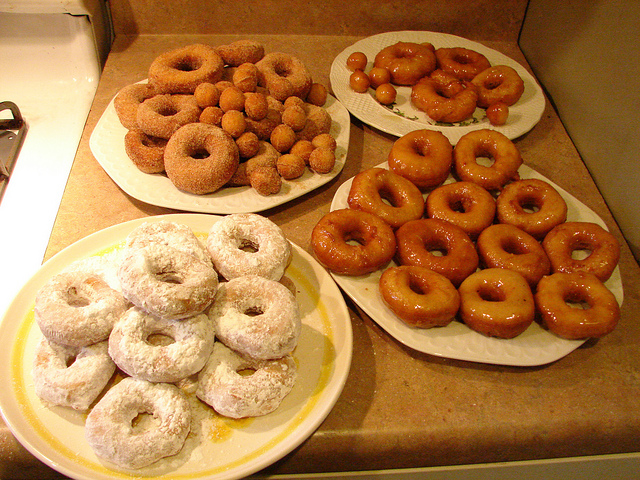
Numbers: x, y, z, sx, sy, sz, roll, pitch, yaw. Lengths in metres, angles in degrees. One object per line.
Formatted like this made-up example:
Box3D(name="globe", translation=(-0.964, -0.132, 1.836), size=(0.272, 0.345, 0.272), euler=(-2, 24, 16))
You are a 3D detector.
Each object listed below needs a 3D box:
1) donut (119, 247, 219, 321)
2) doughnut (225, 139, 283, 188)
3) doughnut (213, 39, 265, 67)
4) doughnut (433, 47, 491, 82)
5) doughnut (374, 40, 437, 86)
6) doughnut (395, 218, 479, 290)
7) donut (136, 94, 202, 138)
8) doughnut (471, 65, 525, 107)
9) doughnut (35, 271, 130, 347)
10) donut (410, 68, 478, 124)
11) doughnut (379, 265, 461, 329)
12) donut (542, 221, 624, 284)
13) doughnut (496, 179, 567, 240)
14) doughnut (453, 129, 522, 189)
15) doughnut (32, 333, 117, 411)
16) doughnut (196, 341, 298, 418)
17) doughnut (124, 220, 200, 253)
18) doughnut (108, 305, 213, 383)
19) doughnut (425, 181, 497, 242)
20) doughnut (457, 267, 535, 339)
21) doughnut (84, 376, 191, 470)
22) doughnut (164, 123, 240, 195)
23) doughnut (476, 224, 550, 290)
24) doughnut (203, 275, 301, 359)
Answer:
Box3D(name="donut", translation=(-0.356, 0.110, 1.364), size=(0.203, 0.065, 0.197), euler=(-11, 48, -39))
Box3D(name="doughnut", translation=(-0.208, -0.242, 1.773), size=(0.152, 0.047, 0.142), euler=(3, 42, 6))
Box3D(name="doughnut", translation=(-0.283, -0.656, 2.001), size=(0.134, 0.041, 0.108), euler=(-14, 15, -37))
Box3D(name="doughnut", translation=(0.531, -0.673, 2.145), size=(0.164, 0.054, 0.167), euler=(31, 48, 33))
Box3D(name="doughnut", translation=(0.319, -0.664, 2.111), size=(0.196, 0.064, 0.197), euler=(27, 51, 29))
Box3D(name="doughnut", translation=(0.322, 0.027, 1.633), size=(0.214, 0.076, 0.206), euler=(-33, 58, -28))
Box3D(name="donut", translation=(-0.481, -0.401, 1.799), size=(0.172, 0.054, 0.160), euler=(1, 38, -2))
Box3D(name="doughnut", translation=(0.647, -0.566, 2.061), size=(0.173, 0.079, 0.178), euler=(3, 62, -3))
Box3D(name="doughnut", translation=(-0.577, 0.170, 1.392), size=(0.203, 0.062, 0.185), euler=(-7, 46, -26))
Box3D(name="donut", translation=(0.430, -0.515, 2.024), size=(0.210, 0.075, 0.214), euler=(35, 57, 27))
Box3D(name="doughnut", translation=(0.266, 0.112, 1.471), size=(0.190, 0.060, 0.170), euler=(5, 38, 0))
Box3D(name="donut", translation=(0.766, 0.038, 1.673), size=(0.209, 0.077, 0.215), euler=(31, 70, 32))
Box3D(name="doughnut", translation=(0.636, -0.105, 1.748), size=(0.194, 0.071, 0.194), euler=(-34, 59, -14))
Box3D(name="doughnut", translation=(0.533, -0.263, 1.820), size=(0.212, 0.075, 0.201), euler=(-22, 59, -6))
Box3D(name="doughnut", translation=(-0.593, 0.319, 1.370), size=(0.193, 0.054, 0.181), euler=(4, 43, 3))
Box3D(name="doughnut", translation=(-0.181, 0.350, 1.391), size=(0.235, 0.071, 0.170), euler=(13, 62, 2))
Box3D(name="doughnut", translation=(-0.415, 0.002, 1.457), size=(0.172, 0.049, 0.176), euler=(-4, 19, 28))
Box3D(name="doughnut", translation=(-0.385, 0.253, 1.361), size=(0.242, 0.084, 0.166), euler=(6, 62, -2))
Box3D(name="doughnut", translation=(0.422, -0.106, 1.719), size=(0.195, 0.069, 0.186), euler=(-29, 54, -20))
Box3D(name="doughnut", translation=(0.469, 0.165, 1.562), size=(0.212, 0.078, 0.200), euler=(0, 50, 23))
Box3D(name="doughnut", translation=(-0.427, 0.431, 1.328), size=(0.230, 0.055, 0.201), euler=(8, 62, -1))
Box3D(name="doughnut", translation=(-0.362, -0.245, 1.715), size=(0.231, 0.079, 0.214), euler=(1, 59, -4))
Box3D(name="doughnut", translation=(0.554, 0.053, 1.647), size=(0.189, 0.063, 0.188), euler=(10, 47, 9))
Box3D(name="doughnut", translation=(-0.159, 0.189, 1.402), size=(0.223, 0.071, 0.202), euler=(-26, 56, -34))
